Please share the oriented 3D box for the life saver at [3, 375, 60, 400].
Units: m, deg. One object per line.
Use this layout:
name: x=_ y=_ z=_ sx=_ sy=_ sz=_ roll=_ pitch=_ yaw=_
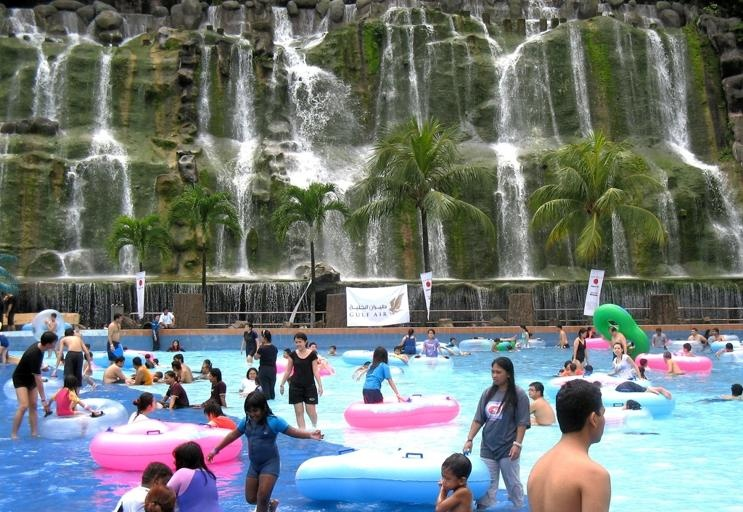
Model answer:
life saver: x=-11.696 y=4.577 z=31.358 sx=1.302 sy=0.428 sz=1.348 roll=3 pitch=-1 yaw=-13
